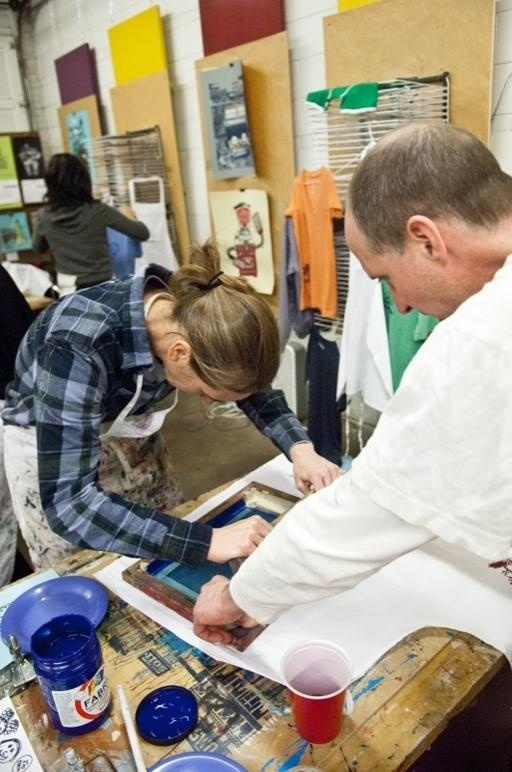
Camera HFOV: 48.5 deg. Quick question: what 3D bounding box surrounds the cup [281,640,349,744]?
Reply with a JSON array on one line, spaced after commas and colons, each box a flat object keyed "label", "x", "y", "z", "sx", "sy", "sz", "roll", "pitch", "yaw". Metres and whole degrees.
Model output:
[{"label": "cup", "x": 0.089, "y": 0.444, "z": 0.796, "sx": 0.095, "sy": 0.115, "sz": 0.082, "roll": -2, "pitch": 21, "yaw": 4}]

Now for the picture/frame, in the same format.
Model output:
[{"label": "picture/frame", "x": -0.053, "y": 0.406, "z": 1.239, "sx": 0.399, "sy": 0.457, "sz": 0.045, "roll": -43, "pitch": 39, "yaw": -12}]

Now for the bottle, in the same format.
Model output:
[{"label": "bottle", "x": -0.268, "y": 0.430, "z": 0.827, "sx": 0.095, "sy": 0.156, "sz": 0.093, "roll": 0, "pitch": 23, "yaw": 0}]
